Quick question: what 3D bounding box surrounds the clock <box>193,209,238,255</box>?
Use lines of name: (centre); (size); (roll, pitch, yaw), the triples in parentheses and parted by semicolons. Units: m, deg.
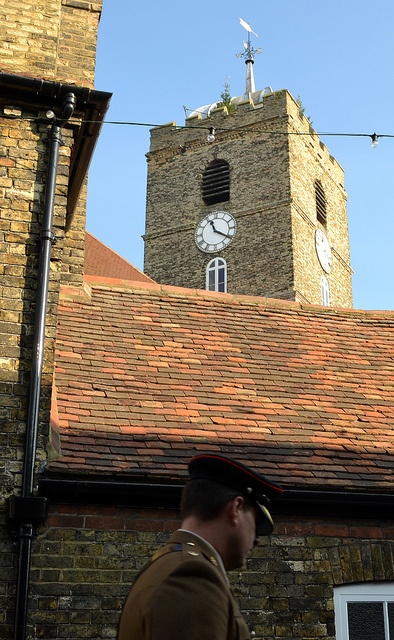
clock: (0.753, -3.576, 40.119); (1.885, 1.714, 0.113); (-20, -35, 14)

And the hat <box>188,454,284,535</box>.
hat: (0.167, 0.665, 3.927); (0.367, 0.135, 0.306); (29, -21, -5)
